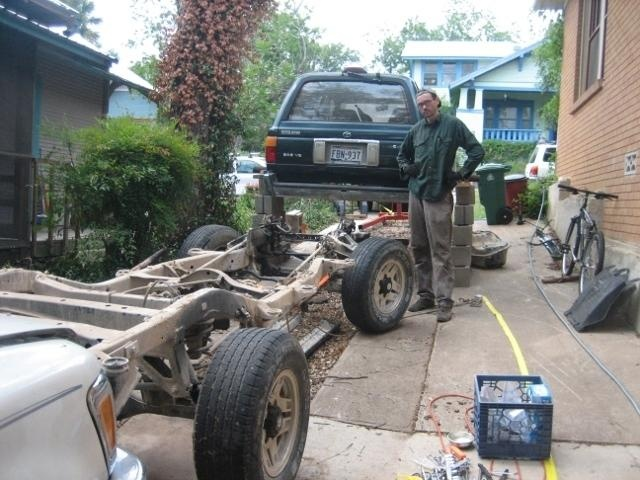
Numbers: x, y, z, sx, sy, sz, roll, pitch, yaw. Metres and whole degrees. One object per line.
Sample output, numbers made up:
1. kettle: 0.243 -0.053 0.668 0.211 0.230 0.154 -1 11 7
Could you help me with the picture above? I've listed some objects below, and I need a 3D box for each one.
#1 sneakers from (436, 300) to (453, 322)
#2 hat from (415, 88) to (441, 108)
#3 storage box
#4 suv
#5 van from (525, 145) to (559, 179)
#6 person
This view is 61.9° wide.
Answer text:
1. sneakers: 1.288 0.741 5.552 0.153 0.202 0.245 0 6 16
2. hat: 1.094 -1.446 5.542 0.187 0.222 0.269 5 30 32
3. storage box: 1.188 1.114 3.364 0.444 0.327 0.475 0 4 -2
4. suv: 0.248 -1.346 6.271 1.076 1.035 1.894 2 19 8
5. van: 6.352 -2.344 15.423 0.777 1.150 4.009 0 6 22
6. person: 1.235 -0.376 5.691 0.628 2.398 0.759 -6 7 -36
